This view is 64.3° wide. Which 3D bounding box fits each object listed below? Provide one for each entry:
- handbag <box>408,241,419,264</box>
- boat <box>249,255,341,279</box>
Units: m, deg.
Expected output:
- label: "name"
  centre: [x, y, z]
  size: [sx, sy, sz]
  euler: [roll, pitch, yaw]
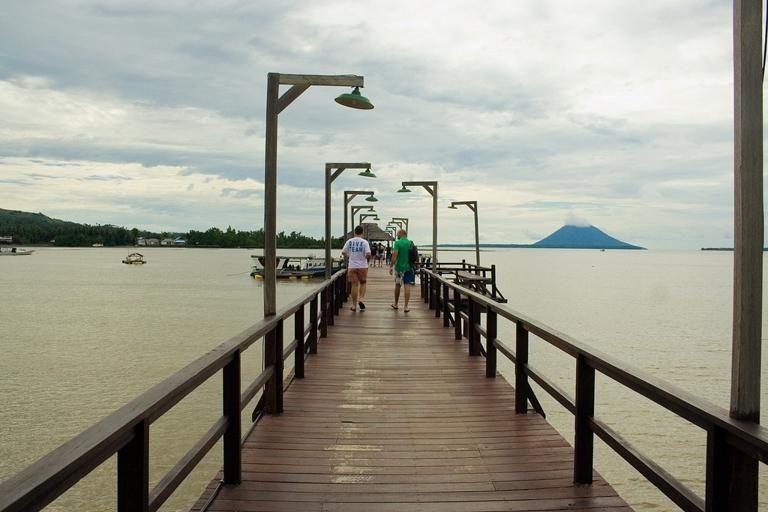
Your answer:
- label: "handbag"
  centre: [0.606, -0.059, 13.101]
  size: [0.261, 0.595, 0.516]
  euler: [0, -3, 4]
- label: "boat"
  centre: [-6.135, 0.784, 43.324]
  size: [4.712, 1.116, 2.466]
  euler: [0, 6, 0]
